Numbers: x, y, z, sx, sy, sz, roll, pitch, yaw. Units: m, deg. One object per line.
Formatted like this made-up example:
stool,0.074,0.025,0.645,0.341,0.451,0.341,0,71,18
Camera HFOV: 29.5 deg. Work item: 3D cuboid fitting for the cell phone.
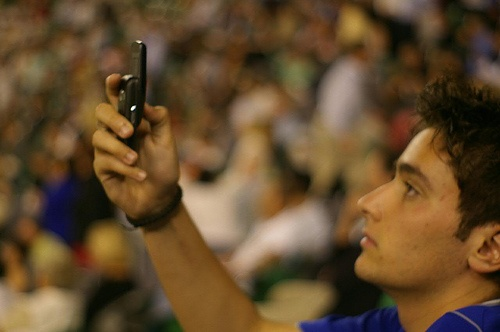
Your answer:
cell phone,-0.380,-0.236,3.118,0.065,0.126,0.338,4,90,1
